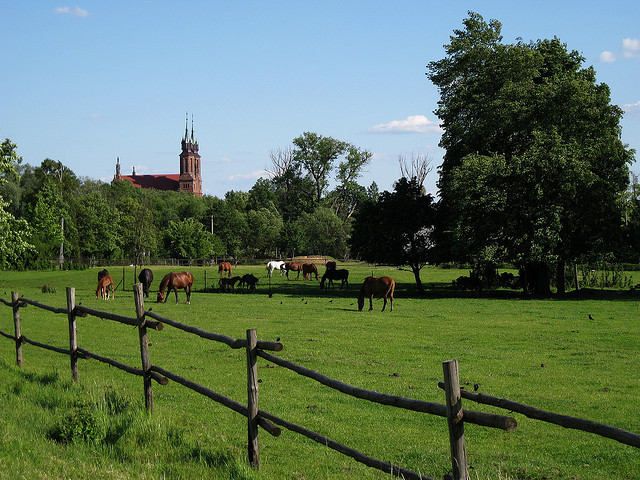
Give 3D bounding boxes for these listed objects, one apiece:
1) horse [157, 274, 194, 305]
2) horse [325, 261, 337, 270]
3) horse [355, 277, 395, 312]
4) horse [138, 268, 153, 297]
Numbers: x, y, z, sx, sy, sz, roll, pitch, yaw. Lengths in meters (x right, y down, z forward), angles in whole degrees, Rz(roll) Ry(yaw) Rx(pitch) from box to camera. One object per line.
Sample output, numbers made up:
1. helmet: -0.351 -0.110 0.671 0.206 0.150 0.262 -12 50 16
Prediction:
1. horse: -7.760 2.608 36.973 0.744 1.681 2.849 1 4 36
2. horse: 1.232 2.698 68.121 0.662 0.966 0.866 4 -5 23
3. horse: 2.787 2.743 33.964 2.273 1.801 0.662 -8 -13 41
4. horse: -10.303 2.497 40.253 0.657 1.420 3.303 0 1 -16
